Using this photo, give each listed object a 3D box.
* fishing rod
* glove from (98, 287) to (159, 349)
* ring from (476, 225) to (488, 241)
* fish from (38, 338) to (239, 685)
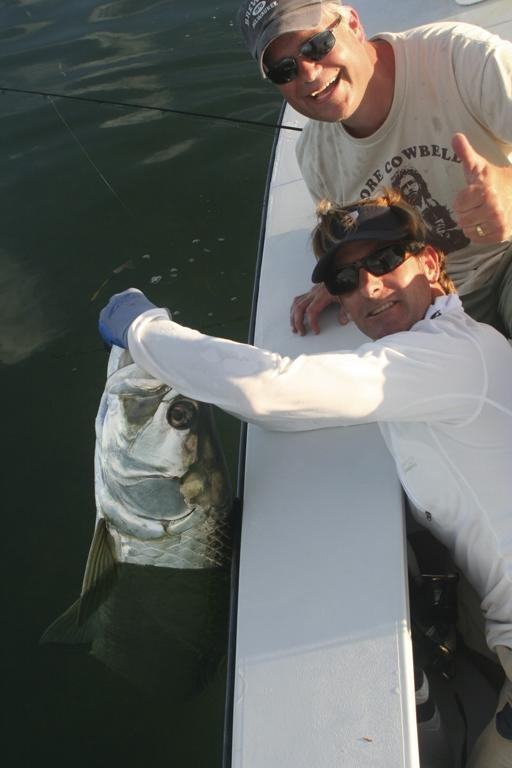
[{"bbox_3d":[-0.408,-0.989,2.760,1.002,0.186,0.330,-10,18,-21],"label":"fishing rod"},{"bbox_3d":[-0.320,-0.200,2.009,0.196,0.161,0.154,-14,22,-31],"label":"glove"},{"bbox_3d":[0.553,-0.372,1.852,0.009,0.026,0.025,-12,54,20],"label":"ring"},{"bbox_3d":[-0.246,0.415,1.837,0.493,0.200,1.074,0,84,-14],"label":"fish"}]
